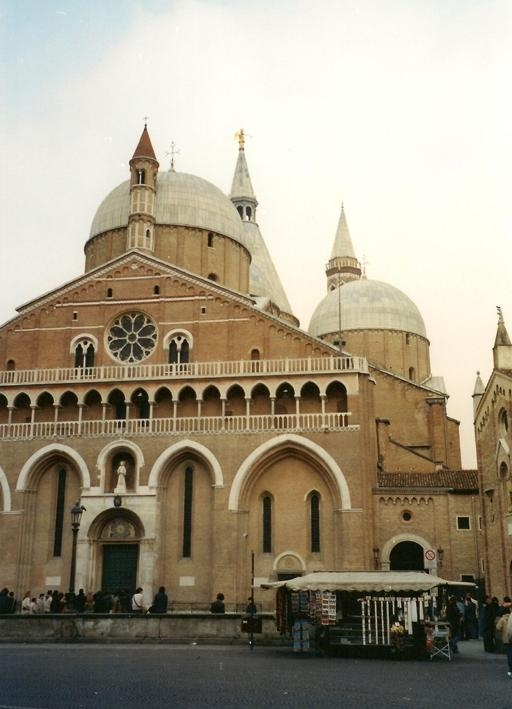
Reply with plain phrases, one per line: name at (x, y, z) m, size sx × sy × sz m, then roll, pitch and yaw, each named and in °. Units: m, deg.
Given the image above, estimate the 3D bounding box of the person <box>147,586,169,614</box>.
person at (-3.336, 8.555, 28.451) m, size 0.428 × 0.885 × 1.191 m, roll 3°, pitch -20°, yaw -10°
